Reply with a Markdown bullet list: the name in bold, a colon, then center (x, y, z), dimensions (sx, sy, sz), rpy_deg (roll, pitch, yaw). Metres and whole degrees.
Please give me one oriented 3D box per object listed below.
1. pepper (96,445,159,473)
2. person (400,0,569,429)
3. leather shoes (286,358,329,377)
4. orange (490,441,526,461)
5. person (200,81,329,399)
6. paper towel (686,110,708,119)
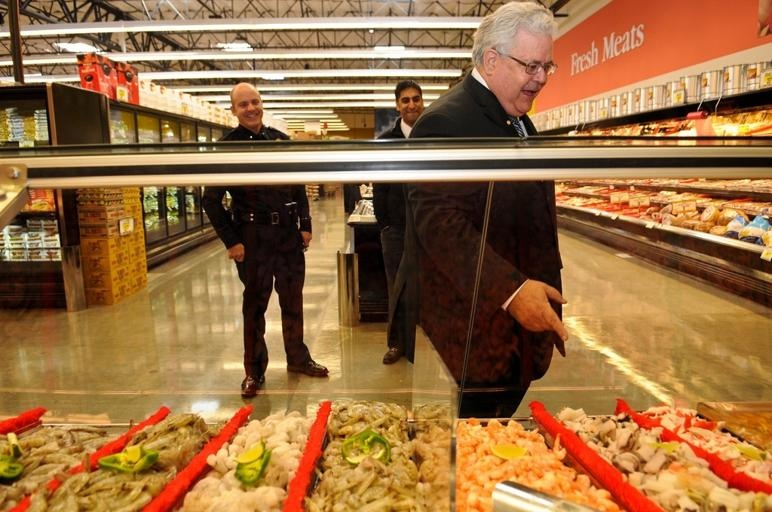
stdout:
- **pepper**: center (-0.824, 0.666, 1.619), dimensions (0.108, 0.051, 0.107), rpy_deg (-4, 5, -8)
- **person**: center (0.372, -0.189, 1.959), dimensions (0.590, 1.551, 0.570), rpy_deg (-2, 11, 2)
- **leather shoes**: center (-0.283, 0.408, 1.847), dimensions (0.135, 0.068, 0.057), rpy_deg (2, 5, -8)
- **orange**: center (0.416, 0.669, 1.698), dimensions (0.113, 0.027, 0.075), rpy_deg (-1, 13, 6)
- **person**: center (-0.419, 0.127, 1.800), dimensions (0.376, 0.767, 0.164), rpy_deg (-6, 12, -21)
- **paper towel**: center (3.090, -1.417, 4.996), dimensions (0.149, 0.061, 0.159), rpy_deg (5, 23, 39)
